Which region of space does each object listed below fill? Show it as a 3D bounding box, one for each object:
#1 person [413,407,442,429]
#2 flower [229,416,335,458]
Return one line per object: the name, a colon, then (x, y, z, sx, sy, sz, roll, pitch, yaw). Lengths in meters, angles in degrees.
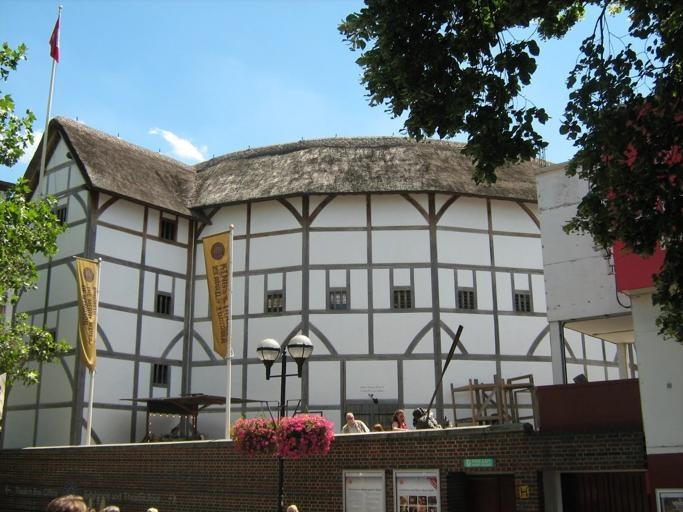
person: (2.068, 4.007, 15.358, 0.546, 0.570, 1.732, -3, -19, 6)
flower: (-1.224, 3.951, 13.676, 1.535, 0.736, 1.292, -2, -20, 15)
